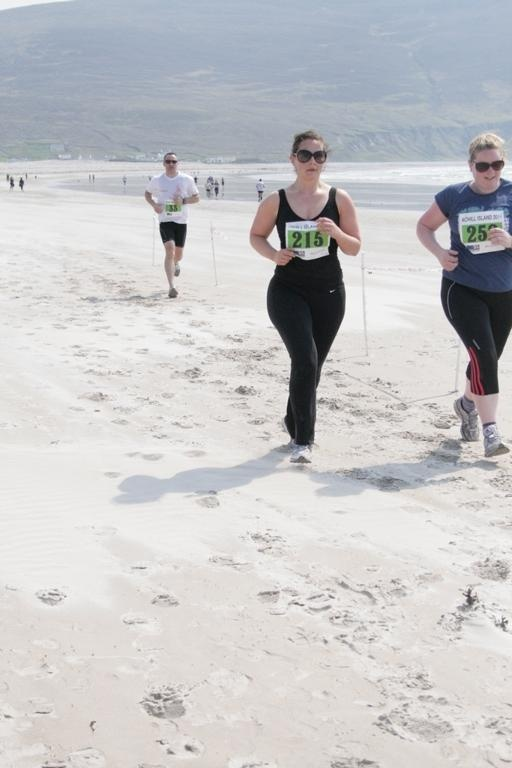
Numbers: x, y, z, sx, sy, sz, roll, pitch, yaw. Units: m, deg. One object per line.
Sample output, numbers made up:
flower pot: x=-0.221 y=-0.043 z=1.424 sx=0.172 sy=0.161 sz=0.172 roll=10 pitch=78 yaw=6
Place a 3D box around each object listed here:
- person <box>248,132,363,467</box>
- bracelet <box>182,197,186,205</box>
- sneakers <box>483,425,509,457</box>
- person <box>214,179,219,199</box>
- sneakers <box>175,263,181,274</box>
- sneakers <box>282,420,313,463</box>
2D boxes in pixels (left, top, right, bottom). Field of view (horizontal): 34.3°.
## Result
person: x=0.233 y=-0.417 z=4.129 sx=0.538 sy=1.616 sz=0.414 roll=1 pitch=9 yaw=0
bracelet: x=-0.817 y=-2.090 z=9.456 sx=0.043 sy=0.052 sz=0.015 roll=7 pitch=3 yaw=9
sneakers: x=1.203 y=0.292 z=4.200 sx=0.088 sy=0.148 sz=0.223 roll=-6 pitch=-15 yaw=-1
person: x=-1.903 y=-9.008 z=38.492 sx=0.194 sy=0.669 sz=0.845 roll=-1 pitch=8 yaw=-13
sneakers: x=-0.994 y=-1.462 z=10.505 sx=0.061 sy=0.155 sz=0.067 roll=-5 pitch=9 yaw=-3
sneakers: x=0.209 y=0.322 z=4.269 sx=0.095 sy=0.112 sz=0.275 roll=-2 pitch=10 yaw=-4
